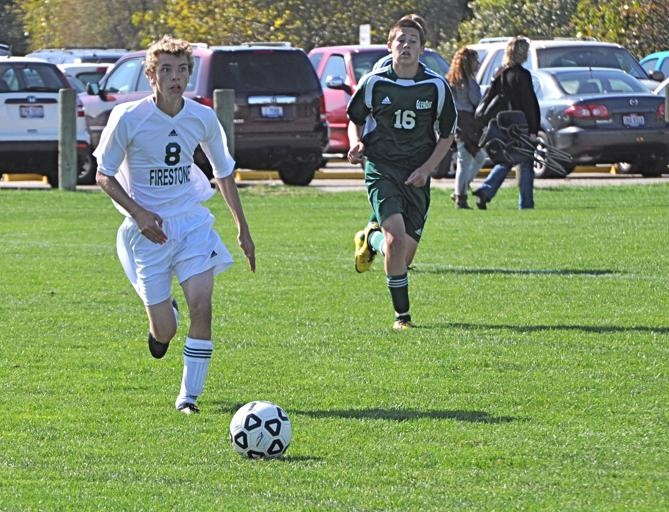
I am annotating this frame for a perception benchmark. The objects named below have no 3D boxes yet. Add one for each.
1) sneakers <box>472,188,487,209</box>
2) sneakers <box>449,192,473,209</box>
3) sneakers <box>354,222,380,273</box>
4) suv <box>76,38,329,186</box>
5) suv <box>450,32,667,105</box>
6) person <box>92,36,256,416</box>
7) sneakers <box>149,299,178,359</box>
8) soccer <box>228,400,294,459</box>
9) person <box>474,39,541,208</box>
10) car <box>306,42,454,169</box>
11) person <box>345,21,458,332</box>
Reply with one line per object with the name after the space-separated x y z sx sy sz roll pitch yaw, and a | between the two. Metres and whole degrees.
1.813 -0.703 19.281 0.111 0.304 0.225 -5 2 27 | sneakers
1.680 -0.710 19.534 0.311 0.210 0.118 -6 12 -30 | sneakers
0.304 -0.073 13.407 0.208 0.462 0.164 13 18 41 | sneakers
-2.006 -2.277 22.922 1.815 1.407 3.462 -7 15 -39 | suv
3.451 -2.919 24.990 1.470 1.179 3.092 -6 17 -20 | suv
-1.144 -0.279 10.807 0.988 2.486 0.993 6 14 25 | person
-1.242 0.554 11.180 0.179 0.501 0.212 9 14 16 | sneakers
-0.466 1.124 9.807 0.368 0.335 0.354 3 54 1 | soccer
2.100 -1.516 18.502 0.772 2.204 1.597 1 12 5 | person
0.090 -2.413 24.523 1.963 1.497 2.917 -5 6 -29 | car
0.550 -0.727 12.728 0.691 2.464 0.916 -10 16 -37 | person
